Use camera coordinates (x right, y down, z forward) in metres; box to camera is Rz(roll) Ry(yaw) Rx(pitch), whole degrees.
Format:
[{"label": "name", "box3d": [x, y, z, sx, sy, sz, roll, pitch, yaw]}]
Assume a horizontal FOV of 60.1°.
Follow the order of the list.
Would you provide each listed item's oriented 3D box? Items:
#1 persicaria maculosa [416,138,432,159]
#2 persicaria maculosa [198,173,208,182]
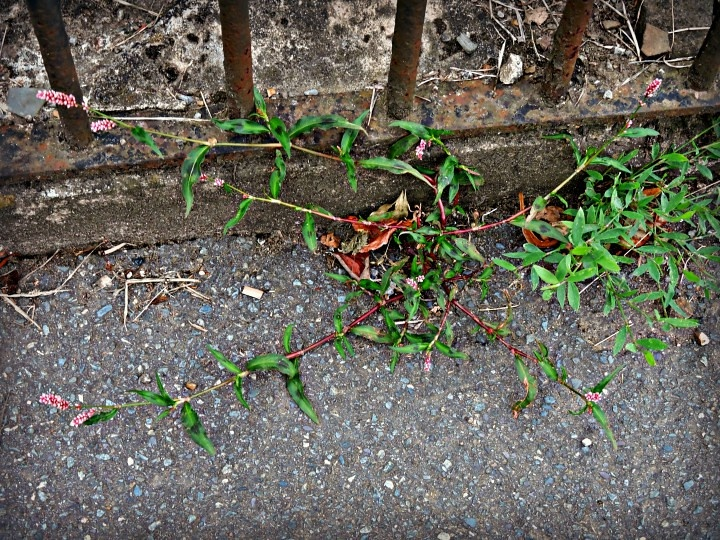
[{"label": "persicaria maculosa", "box3d": [0.302, -0.583, 2.969, 0.046, 0.099, 0.054, 24, 86, 10]}, {"label": "persicaria maculosa", "box3d": [-0.743, -0.439, 2.949, 0.034, 0.045, 0.079, -7, 15, 1]}]
